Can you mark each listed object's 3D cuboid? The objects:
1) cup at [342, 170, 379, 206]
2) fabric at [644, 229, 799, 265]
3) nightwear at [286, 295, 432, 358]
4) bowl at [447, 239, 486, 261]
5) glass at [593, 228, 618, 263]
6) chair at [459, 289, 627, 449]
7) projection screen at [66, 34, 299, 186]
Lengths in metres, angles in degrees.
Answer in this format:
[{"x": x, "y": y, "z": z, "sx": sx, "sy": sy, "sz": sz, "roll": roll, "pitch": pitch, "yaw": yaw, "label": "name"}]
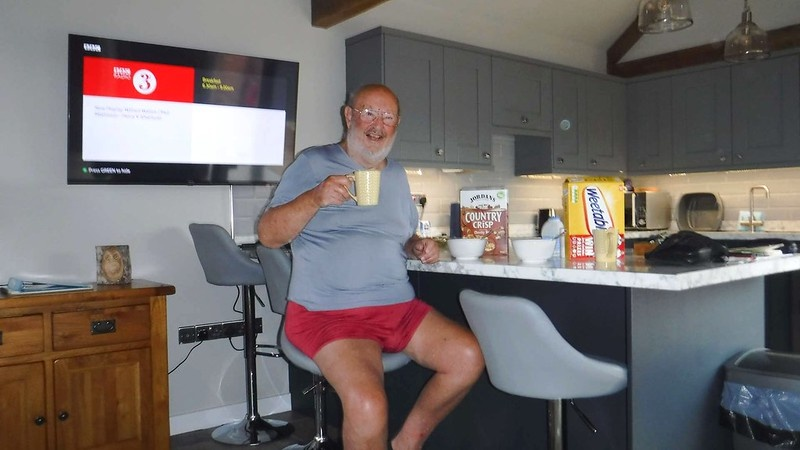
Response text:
[{"x": -0.209, "y": -0.199, "z": 3.006, "sx": 0.152, "sy": 0.192, "sz": 0.184, "roll": -3, "pitch": 4, "yaw": -19, "label": "cup"}, {"x": 1.758, "y": 0.120, "z": 3.004, "sx": 0.751, "sy": 0.166, "sz": 0.441, "roll": -5, "pitch": 1, "yaw": -11, "label": "fabric"}, {"x": -0.242, "y": 0.541, "z": 3.084, "sx": 0.529, "sy": 0.197, "sz": 0.376, "roll": -3, "pitch": 1, "yaw": 7, "label": "nightwear"}, {"x": 0.396, "y": 0.135, "z": 3.226, "sx": 0.155, "sy": 0.075, "sz": 0.155, "roll": -2, "pitch": -3, "yaw": 0, "label": "bowl"}, {"x": 1.087, "y": 0.097, "z": 3.012, "sx": 0.149, "sy": 0.160, "sz": 0.148, "roll": -3, "pitch": 7, "yaw": 18, "label": "glass"}, {"x": 0.611, "y": 0.652, "z": 3.009, "sx": 0.664, "sy": 0.925, "sz": 0.628, "roll": -6, "pitch": 7, "yaw": -32, "label": "chair"}, {"x": -1.622, "y": -0.869, "z": 4.424, "sx": 0.083, "sy": 1.045, "sz": 1.880, "roll": 15, "pitch": 14, "yaw": 39, "label": "projection screen"}]
